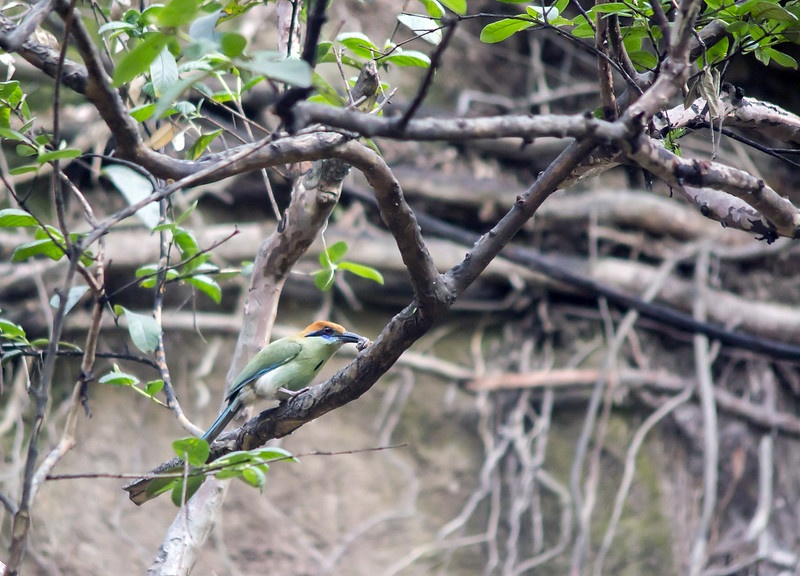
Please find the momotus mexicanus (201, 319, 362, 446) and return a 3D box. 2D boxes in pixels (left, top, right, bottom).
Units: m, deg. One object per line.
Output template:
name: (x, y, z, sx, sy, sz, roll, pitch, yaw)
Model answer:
momotus mexicanus: (-0.924, 0.619, 7.844, 1.408, 0.595, 0.361, -17, -32, 22)
